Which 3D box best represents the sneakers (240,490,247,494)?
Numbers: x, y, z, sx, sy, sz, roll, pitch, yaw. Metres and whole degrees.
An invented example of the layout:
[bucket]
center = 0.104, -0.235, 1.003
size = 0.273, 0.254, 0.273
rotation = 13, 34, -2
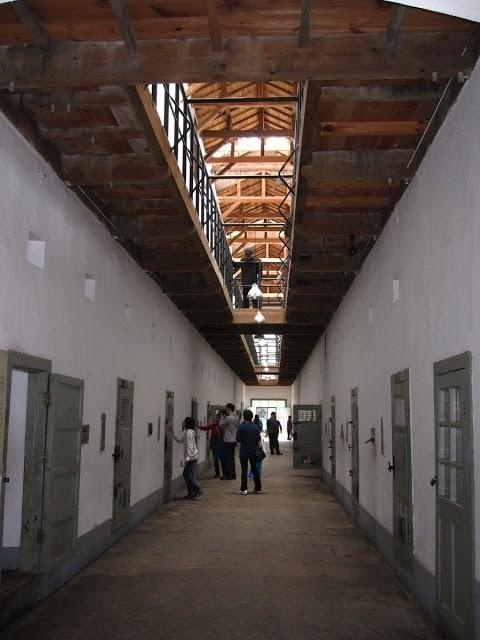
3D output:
[sneakers]
center = 0.063, 3.256, 9.176
size = 0.160, 0.081, 0.214
rotation = 1, -13, -2
